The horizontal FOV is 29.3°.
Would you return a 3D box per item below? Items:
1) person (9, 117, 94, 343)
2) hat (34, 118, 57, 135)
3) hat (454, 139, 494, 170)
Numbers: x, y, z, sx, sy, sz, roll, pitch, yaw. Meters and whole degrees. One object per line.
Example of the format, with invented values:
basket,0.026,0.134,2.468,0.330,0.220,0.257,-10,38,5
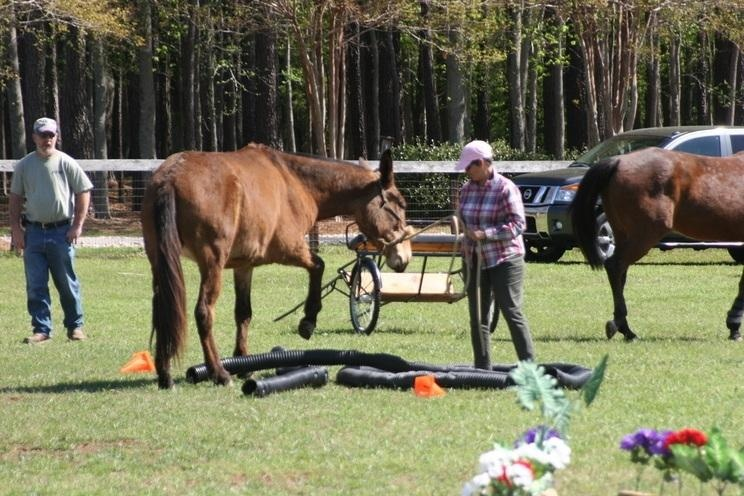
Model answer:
person,-6.377,-0.370,28.267,1.486,4.369,0.767,2,8,13
hat,-6.410,-2.392,28.090,0.451,0.317,0.379,-3,9,-21
hat,1.857,-1.667,26.019,0.609,0.354,0.457,-20,19,-11
